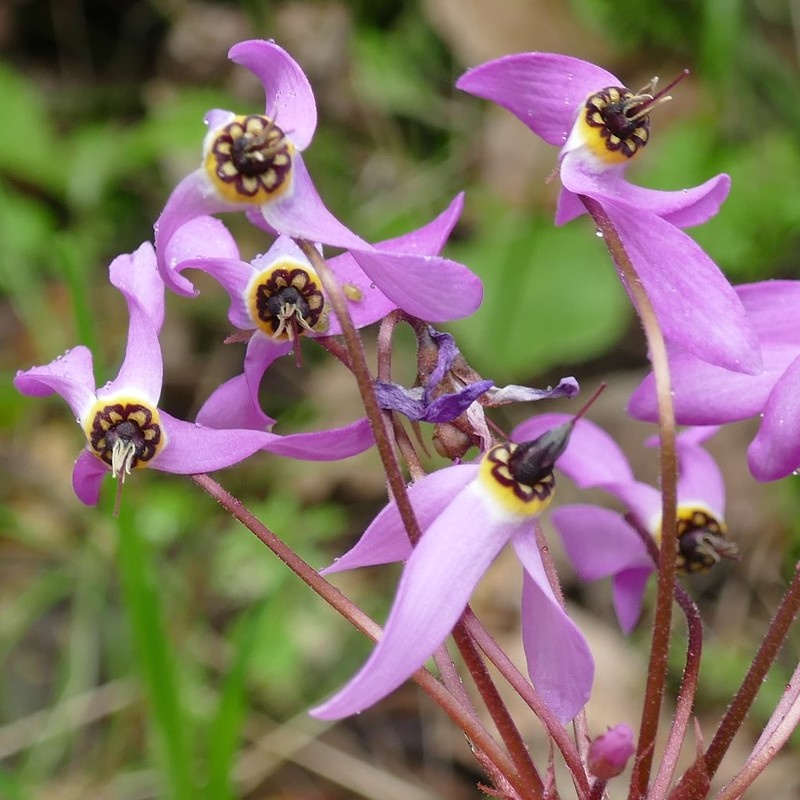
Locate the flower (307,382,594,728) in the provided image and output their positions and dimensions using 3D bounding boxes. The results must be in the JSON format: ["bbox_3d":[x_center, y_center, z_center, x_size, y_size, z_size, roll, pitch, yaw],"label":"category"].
[{"bbox_3d":[0.040,0.178,0.994,0.289,0.298,0.136,-14,26,-21],"label":"flower"}]

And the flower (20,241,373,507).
[{"bbox_3d":[-0.210,-0.021,1.076,0.289,0.263,0.144,-14,10,-17],"label":"flower"}]

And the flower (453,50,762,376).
[{"bbox_3d":[0.221,-0.173,1.119,0.127,0.332,0.251,-23,-16,-26],"label":"flower"}]

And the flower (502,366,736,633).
[{"bbox_3d":[0.241,0.098,1.297,0.122,0.251,0.249,-19,58,-31],"label":"flower"}]

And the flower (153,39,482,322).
[{"bbox_3d":[-0.077,-0.202,1.065,0.336,0.152,0.242,-13,19,13],"label":"flower"}]
